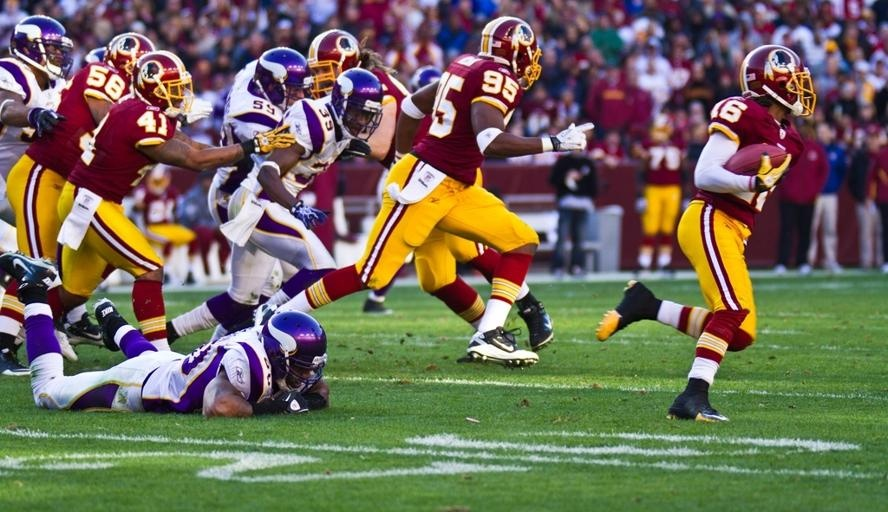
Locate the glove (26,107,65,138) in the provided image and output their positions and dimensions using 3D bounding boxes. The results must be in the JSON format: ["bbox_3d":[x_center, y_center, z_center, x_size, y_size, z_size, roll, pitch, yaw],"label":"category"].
[{"bbox_3d":[-3.005,-1.020,8.417,0.287,0.208,0.098,13,-5,37],"label":"glove"}]

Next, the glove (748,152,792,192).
[{"bbox_3d":[2.170,-0.574,7.398,0.250,0.244,0.089,31,-36,-17],"label":"glove"}]

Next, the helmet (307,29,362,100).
[{"bbox_3d":[-0.968,-1.596,9.245,0.579,0.567,0.446,-5,1,-19],"label":"helmet"}]

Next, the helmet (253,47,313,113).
[{"bbox_3d":[-1.307,-1.407,8.859,0.487,0.458,0.399,0,31,-14],"label":"helmet"}]

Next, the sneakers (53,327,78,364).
[{"bbox_3d":[-2.983,0.701,8.805,0.153,0.204,0.471,3,-1,-3],"label":"sneakers"}]

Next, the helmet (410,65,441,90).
[{"bbox_3d":[-0.153,-1.661,10.265,0.220,0.248,0.399,3,-1,-14],"label":"helmet"}]

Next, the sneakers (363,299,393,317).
[{"bbox_3d":[-0.680,0.555,12.192,0.416,0.261,0.133,1,9,0],"label":"sneakers"}]

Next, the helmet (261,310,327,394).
[{"bbox_3d":[-0.989,0.624,7.330,0.432,0.356,0.310,3,-1,-10],"label":"helmet"}]

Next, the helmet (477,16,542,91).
[{"bbox_3d":[0.559,-1.611,8.721,0.599,0.561,0.459,-5,20,-25],"label":"helmet"}]

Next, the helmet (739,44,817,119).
[{"bbox_3d":[2.381,-1.247,7.898,0.585,0.455,0.434,8,12,-5],"label":"helmet"}]

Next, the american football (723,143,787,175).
[{"bbox_3d":[2.063,-0.650,7.453,0.387,0.224,0.198,-2,-29,0],"label":"american football"}]

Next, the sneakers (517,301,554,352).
[{"bbox_3d":[0.717,0.568,8.741,0.241,0.169,0.480,30,30,-14],"label":"sneakers"}]

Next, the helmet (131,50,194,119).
[{"bbox_3d":[-2.020,-1.285,8.217,0.508,0.463,0.416,7,13,-14],"label":"helmet"}]

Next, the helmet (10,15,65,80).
[{"bbox_3d":[-3.194,-1.665,8.886,0.519,0.486,0.419,7,12,-16],"label":"helmet"}]

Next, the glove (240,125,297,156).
[{"bbox_3d":[-1.286,-0.842,8.152,0.310,0.204,0.099,-24,-29,-16],"label":"glove"}]

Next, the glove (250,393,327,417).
[{"bbox_3d":[-1.020,0.966,7.338,0.260,0.100,0.196,0,-3,29],"label":"glove"}]

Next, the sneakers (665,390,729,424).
[{"bbox_3d":[1.641,0.995,7.313,0.477,0.212,0.160,1,-3,12],"label":"sneakers"}]
